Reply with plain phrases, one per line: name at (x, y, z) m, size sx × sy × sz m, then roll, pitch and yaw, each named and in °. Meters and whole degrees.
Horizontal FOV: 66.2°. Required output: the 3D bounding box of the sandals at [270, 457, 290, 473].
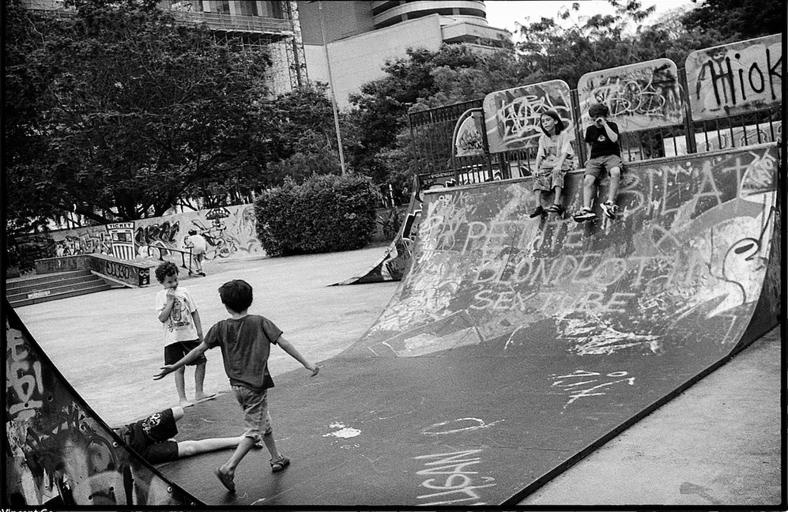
sandals at (-1.056, 1.918, 5.626) m, size 0.089 × 0.087 × 0.205 m, roll 5°, pitch 12°, yaw 21°

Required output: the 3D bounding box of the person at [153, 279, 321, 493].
person at (-1.271, 1.111, 5.504) m, size 0.887 × 1.752 × 0.624 m, roll -11°, pitch 13°, yaw -20°

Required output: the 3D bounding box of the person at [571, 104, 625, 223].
person at (3.059, -1.413, 9.127) m, size 0.718 × 1.717 × 0.903 m, roll -1°, pitch 13°, yaw 25°

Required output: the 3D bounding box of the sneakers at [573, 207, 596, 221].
sneakers at (2.852, -0.620, 9.097) m, size 0.336 × 0.244 × 0.297 m, roll 0°, pitch 13°, yaw 29°

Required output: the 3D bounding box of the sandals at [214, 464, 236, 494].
sandals at (-1.453, 1.929, 5.318) m, size 0.140 × 0.310 × 0.110 m, roll -27°, pitch 21°, yaw -10°

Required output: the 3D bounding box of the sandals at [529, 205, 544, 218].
sandals at (2.252, -0.692, 9.568) m, size 0.216 × 0.193 × 0.141 m, roll -1°, pitch 13°, yaw 27°

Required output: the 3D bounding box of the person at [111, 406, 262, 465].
person at (-2.109, 1.796, 6.019) m, size 1.462 × 0.602 × 0.726 m, roll -3°, pitch -21°, yaw 16°
